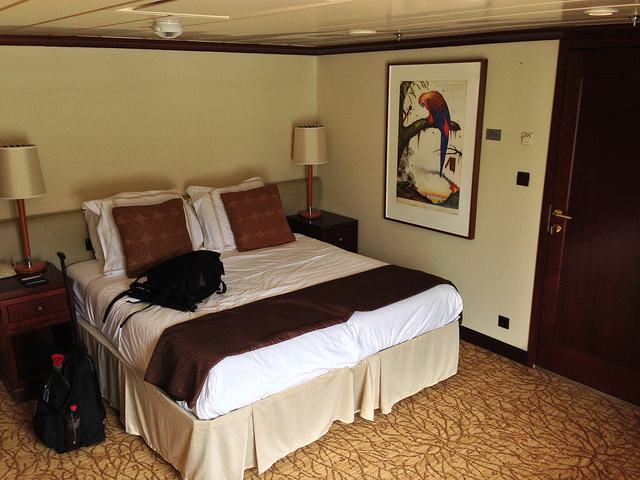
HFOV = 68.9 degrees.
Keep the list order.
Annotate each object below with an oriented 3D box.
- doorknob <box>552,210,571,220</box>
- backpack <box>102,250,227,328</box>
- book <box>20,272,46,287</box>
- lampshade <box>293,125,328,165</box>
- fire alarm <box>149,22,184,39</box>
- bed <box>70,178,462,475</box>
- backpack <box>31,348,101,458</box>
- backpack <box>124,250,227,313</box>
[{"bbox_3d":[2.049,-0.209,3.880,0.067,0.024,0.097,-21,30,-40],"label":"doorknob"},{"bbox_3d":[-1.150,0.342,3.678,0.591,0.233,0.740,19,26,39],"label":"backpack"},{"bbox_3d":[-2.400,0.319,3.838,0.131,0.035,0.118,-8,22,-39],"label":"book"},{"bbox_3d":[-0.133,-1.143,5.482,0.418,0.455,0.421,-16,25,-37],"label":"lampshade"},{"bbox_3d":[-0.975,-1.314,2.931,0.125,0.086,0.126,2,22,3],"label":"fire alarm"},{"bbox_3d":[-0.565,0.464,4.085,2.615,1.649,2.509,-17,22,-37],"label":"bed"},{"bbox_3d":[-1.848,1.205,3.365,0.396,0.686,0.568,-8,17,-41],"label":"backpack"},{"bbox_3d":[-1.101,0.317,3.751,0.546,0.240,0.555,9,14,33],"label":"backpack"}]
